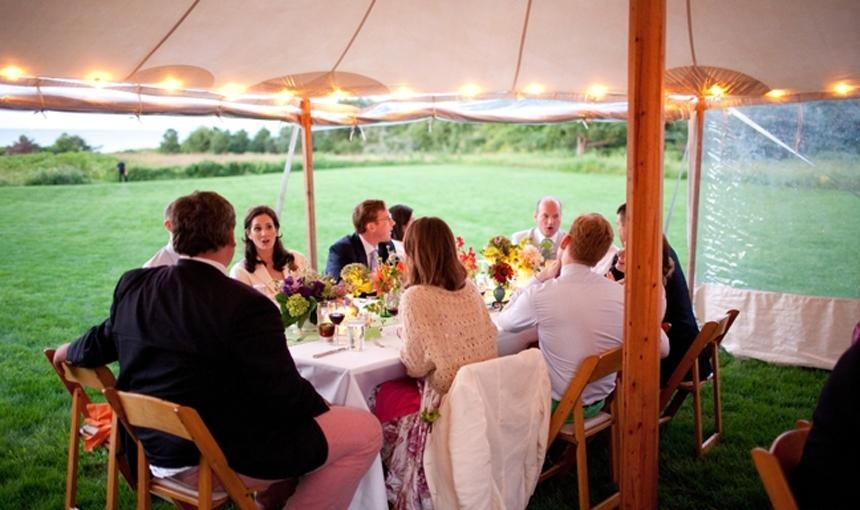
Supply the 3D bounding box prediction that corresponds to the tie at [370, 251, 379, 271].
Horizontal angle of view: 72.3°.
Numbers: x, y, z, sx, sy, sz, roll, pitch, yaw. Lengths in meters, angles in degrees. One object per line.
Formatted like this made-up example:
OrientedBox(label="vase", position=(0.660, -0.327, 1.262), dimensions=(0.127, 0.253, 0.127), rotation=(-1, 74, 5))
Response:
OrientedBox(label="tie", position=(-0.627, 0.069, 6.525), dimensions=(0.065, 0.225, 0.056), rotation=(-2, -4, 36))
